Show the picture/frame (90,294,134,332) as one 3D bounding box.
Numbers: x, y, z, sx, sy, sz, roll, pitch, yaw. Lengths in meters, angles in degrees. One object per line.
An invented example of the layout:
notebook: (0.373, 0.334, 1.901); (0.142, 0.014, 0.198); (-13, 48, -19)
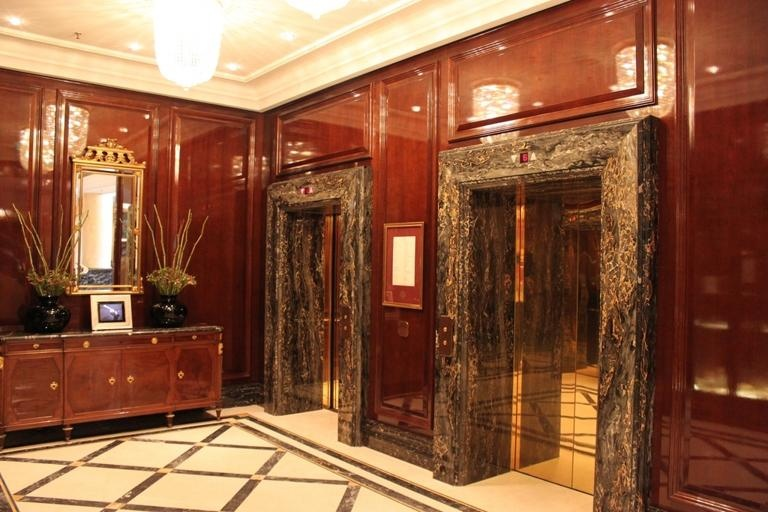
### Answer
picture/frame: (-3.504, 0.737, 7.045); (0.447, 0.458, 0.044); (3, -17, -28)

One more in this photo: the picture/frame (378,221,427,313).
picture/frame: (0.223, 0.104, 6.269); (0.140, 0.961, 0.604); (-2, 5, -39)

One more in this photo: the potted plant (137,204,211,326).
potted plant: (-2.816, 0.144, 7.472); (0.836, 1.650, 0.670); (0, 4, -18)

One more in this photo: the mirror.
mirror: (-3.668, -0.486, 7.291); (0.164, 2.078, 1.039); (6, 3, 35)

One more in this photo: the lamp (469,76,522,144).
lamp: (1.143, -1.466, 5.641); (0.550, 0.586, 0.547); (-1, 0, 0)

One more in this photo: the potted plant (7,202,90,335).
potted plant: (-4.165, 0.247, 6.784); (0.690, 1.273, 0.616); (3, -2, -17)

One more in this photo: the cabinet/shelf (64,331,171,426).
cabinet/shelf: (-3.317, 1.471, 6.766); (1.195, 0.965, 0.458); (2, -6, -33)
